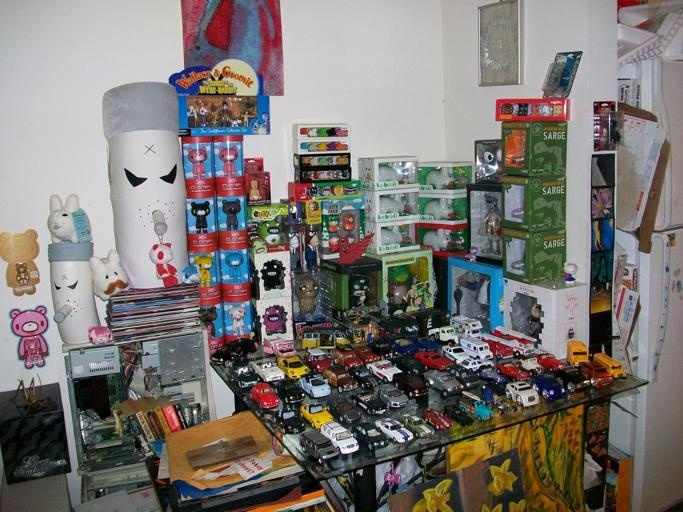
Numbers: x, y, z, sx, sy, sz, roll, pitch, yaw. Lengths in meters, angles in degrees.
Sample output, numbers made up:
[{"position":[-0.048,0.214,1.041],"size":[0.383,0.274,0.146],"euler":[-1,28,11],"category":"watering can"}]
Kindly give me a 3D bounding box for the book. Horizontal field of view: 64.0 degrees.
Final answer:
[{"position":[-1.382,1.181,4.015],"size":[0.353,0.092,0.373],"euler":[-11,29,-31],"category":"book"}]
